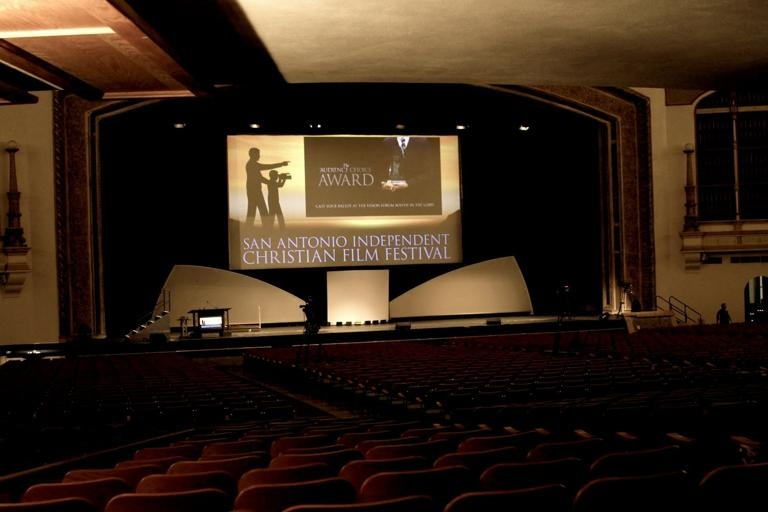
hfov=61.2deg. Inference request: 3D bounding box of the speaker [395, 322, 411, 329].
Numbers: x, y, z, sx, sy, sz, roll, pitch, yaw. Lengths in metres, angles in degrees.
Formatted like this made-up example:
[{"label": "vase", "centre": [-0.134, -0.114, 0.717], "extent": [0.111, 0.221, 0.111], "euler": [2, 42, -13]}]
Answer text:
[{"label": "speaker", "centre": [0.549, 2.029, 18.961], "extent": [0.373, 0.171, 0.245], "euler": [-2, -2, 2]}]
